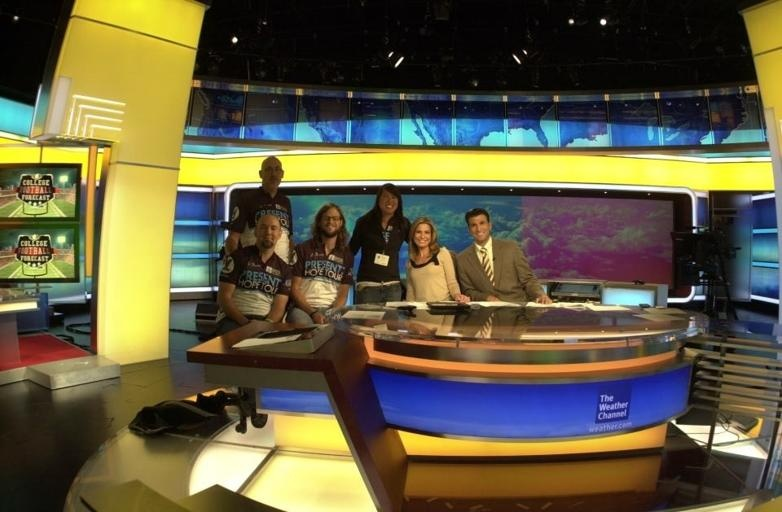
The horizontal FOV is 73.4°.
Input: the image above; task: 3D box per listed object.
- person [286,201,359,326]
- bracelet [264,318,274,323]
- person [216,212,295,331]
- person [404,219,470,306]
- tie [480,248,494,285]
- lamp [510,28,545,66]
[{"bbox_3d":[-0.861,0.053,6.310,0.867,1.318,0.582,-6,15,-18],"label":"person"},{"bbox_3d":[-1.345,0.705,5.799,0.093,0.025,0.091,8,2,-39],"label":"bracelet"},{"bbox_3d":[-1.592,0.135,6.076,0.831,1.186,0.446,-4,15,-11],"label":"person"},{"bbox_3d":[0.511,0.041,6.204,0.641,0.970,0.401,-1,15,2],"label":"person"},{"bbox_3d":[1.145,0.104,6.283,0.100,0.451,0.090,-12,-12,-1],"label":"tie"},{"bbox_3d":[3.251,-5.006,12.488,0.725,0.372,1.421,7,37,15],"label":"lamp"}]
